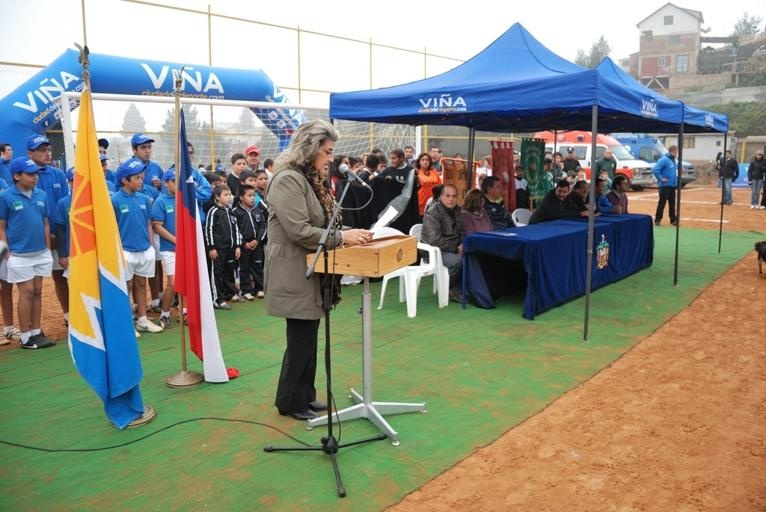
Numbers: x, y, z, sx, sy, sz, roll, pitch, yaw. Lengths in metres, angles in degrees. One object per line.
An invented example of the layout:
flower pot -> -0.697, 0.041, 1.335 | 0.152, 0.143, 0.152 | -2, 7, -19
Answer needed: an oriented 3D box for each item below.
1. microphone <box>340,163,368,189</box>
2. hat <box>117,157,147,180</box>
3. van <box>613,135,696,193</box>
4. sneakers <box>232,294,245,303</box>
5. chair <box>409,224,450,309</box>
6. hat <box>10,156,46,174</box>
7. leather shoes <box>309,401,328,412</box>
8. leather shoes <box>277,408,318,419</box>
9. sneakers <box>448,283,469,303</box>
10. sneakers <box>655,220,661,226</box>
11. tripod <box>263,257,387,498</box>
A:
microphone -> -0.296, -0.766, 6.106 | 0.099, 0.149, 0.347 | -13, -25, 35
hat -> -3.473, -1.199, 8.675 | 0.346, 0.183, 0.250 | -24, 19, -28
van -> 12.473, -4.798, 30.228 | 3.746, 1.891, 2.010 | 10, 23, 36
sneakers -> -2.433, 0.695, 10.512 | 0.243, 0.174, 0.082 | 0, 2, 29
chair -> 0.732, 0.161, 10.264 | 0.848, 1.142, 0.841 | 15, 21, 37
hat -> -4.769, -1.205, 8.412 | 0.316, 0.180, 0.216 | -10, 10, -21
leather shoes -> -0.715, 1.668, 7.009 | 0.225, 0.083, 0.084 | -4, -2, 28
leather shoes -> -0.935, 1.732, 6.993 | 0.440, 0.160, 0.158 | -4, -2, 11
sneakers -> 1.201, 0.624, 10.282 | 0.431, 0.291, 0.157 | 3, 4, 34
sneakers -> 7.991, -0.936, 18.219 | 0.117, 0.069, 0.167 | -1, 9, 21
tripod -> -0.390, 0.966, 6.210 | 1.434, 2.161, 1.420 | -3, 6, -26
